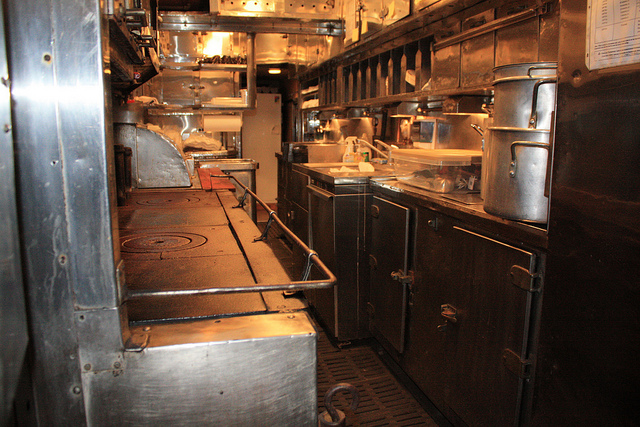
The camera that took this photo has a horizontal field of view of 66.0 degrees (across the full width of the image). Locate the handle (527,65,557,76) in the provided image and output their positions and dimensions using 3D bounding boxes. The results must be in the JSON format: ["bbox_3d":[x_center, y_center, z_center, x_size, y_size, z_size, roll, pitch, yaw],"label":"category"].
[{"bbox_3d":[0.912,-0.587,2.027,0.106,0.043,0.030,4,13,19],"label":"handle"}]

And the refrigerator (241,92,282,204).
[{"bbox_3d":[-1.074,-1.204,9.149,0.728,1.988,0.393,-2,13,-7],"label":"refrigerator"}]

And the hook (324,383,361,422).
[{"bbox_3d":[0.072,0.574,1.559,0.155,0.111,0.104,3,9,-15],"label":"hook"}]

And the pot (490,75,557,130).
[{"bbox_3d":[0.854,-0.472,2.110,0.244,0.164,0.233,0,8,0],"label":"pot"}]

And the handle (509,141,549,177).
[{"bbox_3d":[0.889,-0.241,2.088,0.182,0.170,0.087,3,14,31],"label":"handle"}]

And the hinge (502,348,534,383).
[{"bbox_3d":[0.845,0.598,2.098,0.105,0.120,0.184,-6,12,-14],"label":"hinge"}]

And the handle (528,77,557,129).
[{"bbox_3d":[0.913,-0.449,2.027,0.087,0.202,0.033,2,13,8],"label":"handle"}]

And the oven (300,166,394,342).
[{"bbox_3d":[0.165,0.295,3.809,0.459,1.231,0.700,-2,13,-6],"label":"oven"}]

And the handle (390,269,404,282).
[{"bbox_3d":[0.475,0.382,3.038,0.056,0.030,0.071,-2,12,5],"label":"handle"}]

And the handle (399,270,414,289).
[{"bbox_3d":[0.525,0.392,2.944,0.041,0.118,0.118,-12,17,-41],"label":"handle"}]

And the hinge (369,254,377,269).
[{"bbox_3d":[0.372,0.336,3.431,0.022,0.077,0.060,-3,7,-33],"label":"hinge"}]

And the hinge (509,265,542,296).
[{"bbox_3d":[0.857,0.271,2.066,0.050,0.115,0.158,-7,14,-26],"label":"hinge"}]
